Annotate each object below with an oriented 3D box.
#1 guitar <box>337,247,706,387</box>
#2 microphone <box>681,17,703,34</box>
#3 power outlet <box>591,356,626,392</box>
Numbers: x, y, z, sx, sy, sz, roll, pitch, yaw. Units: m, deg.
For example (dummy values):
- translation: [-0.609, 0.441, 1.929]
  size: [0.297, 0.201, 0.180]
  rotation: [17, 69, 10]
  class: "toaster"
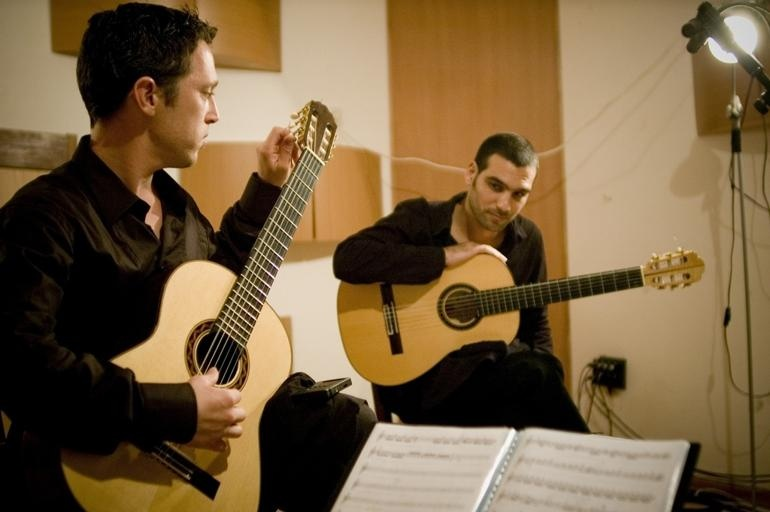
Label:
- translation: [0.680, 0.309, 3.833]
  size: [1.804, 0.793, 0.209]
  rotation: [-11, -11, -1]
  class: "guitar"
- translation: [1.547, -1.138, 3.563]
  size: [0.057, 0.075, 0.114]
  rotation: [3, 4, -20]
  class: "microphone"
- translation: [1.302, 0.680, 4.127]
  size: [0.184, 0.200, 0.048]
  rotation: [4, 3, 27]
  class: "power outlet"
